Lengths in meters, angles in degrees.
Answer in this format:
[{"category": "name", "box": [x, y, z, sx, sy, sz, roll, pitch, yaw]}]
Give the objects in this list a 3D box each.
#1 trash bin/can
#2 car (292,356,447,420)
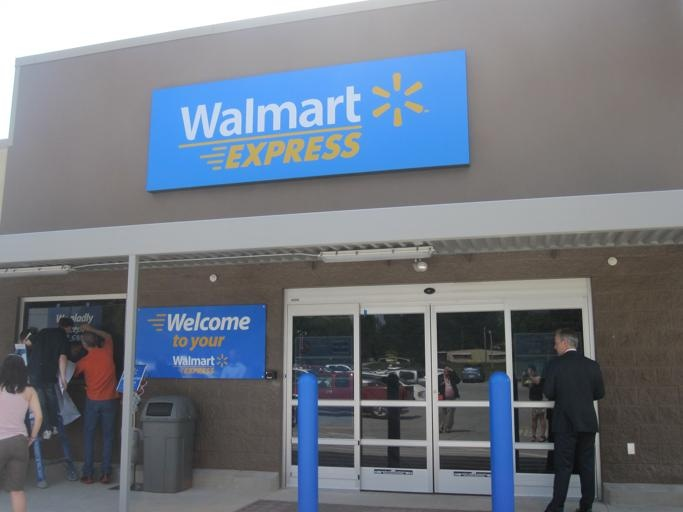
[{"category": "trash bin/can", "box": [-2.566, 2.773, 10.127, 0.769, 1.375, 0.340, 2, -9, -18]}, {"category": "car", "box": [0.269, 1.931, 10.519, 1.876, 0.739, 0.918, 1, -4, 8]}]
